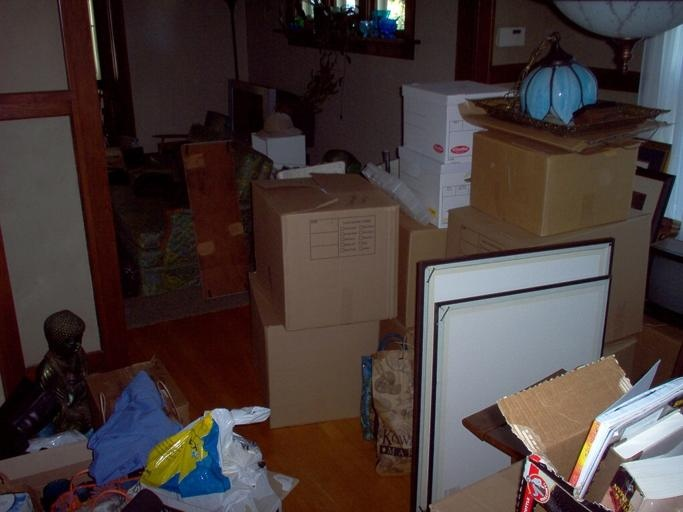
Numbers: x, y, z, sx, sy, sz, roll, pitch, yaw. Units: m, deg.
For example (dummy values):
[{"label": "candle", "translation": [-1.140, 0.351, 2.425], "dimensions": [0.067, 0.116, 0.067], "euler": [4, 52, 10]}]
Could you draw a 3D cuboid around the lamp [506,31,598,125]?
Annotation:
[{"label": "lamp", "translation": [0.838, -0.686, 2.310], "dimensions": [0.344, 0.397, 0.337], "euler": [10, 29, 29]}]

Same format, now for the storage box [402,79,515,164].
[{"label": "storage box", "translation": [0.557, -0.696, 2.737], "dimensions": [0.429, 0.291, 0.442], "euler": [-12, 28, -27]}]

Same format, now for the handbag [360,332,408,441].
[{"label": "handbag", "translation": [0.178, 0.628, 2.746], "dimensions": [0.252, 0.503, 0.111], "euler": [-1, 6, -6]}]

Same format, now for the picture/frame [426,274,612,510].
[{"label": "picture/frame", "translation": [0.523, 0.399, 1.746], "dimensions": [0.689, 0.888, 0.070], "euler": [-9, 24, -23]}]

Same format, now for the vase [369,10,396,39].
[{"label": "vase", "translation": [0.314, -1.790, 4.400], "dimensions": [0.204, 0.195, 0.240], "euler": [-17, 31, -29]}]

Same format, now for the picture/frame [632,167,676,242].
[{"label": "picture/frame", "translation": [1.447, -0.251, 2.663], "dimensions": [0.073, 0.315, 0.319], "euler": [11, 15, 19]}]

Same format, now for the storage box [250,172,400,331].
[{"label": "storage box", "translation": [-0.017, 0.193, 2.623], "dimensions": [0.600, 0.507, 0.835], "euler": [3, 43, 4]}]

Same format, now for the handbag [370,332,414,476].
[{"label": "handbag", "translation": [0.239, 0.715, 2.592], "dimensions": [0.188, 0.529, 0.207], "euler": [-2, 21, 4]}]

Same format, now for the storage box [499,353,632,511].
[{"label": "storage box", "translation": [0.605, 0.491, 1.519], "dimensions": [0.418, 0.316, 0.104], "euler": [-22, -15, -26]}]

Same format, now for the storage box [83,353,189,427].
[{"label": "storage box", "translation": [-0.974, 0.602, 2.649], "dimensions": [0.325, 0.100, 0.354], "euler": [-11, 35, -26]}]

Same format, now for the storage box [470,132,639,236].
[{"label": "storage box", "translation": [0.856, -0.290, 2.375], "dimensions": [0.491, 0.345, 0.509], "euler": [-2, 24, -20]}]
